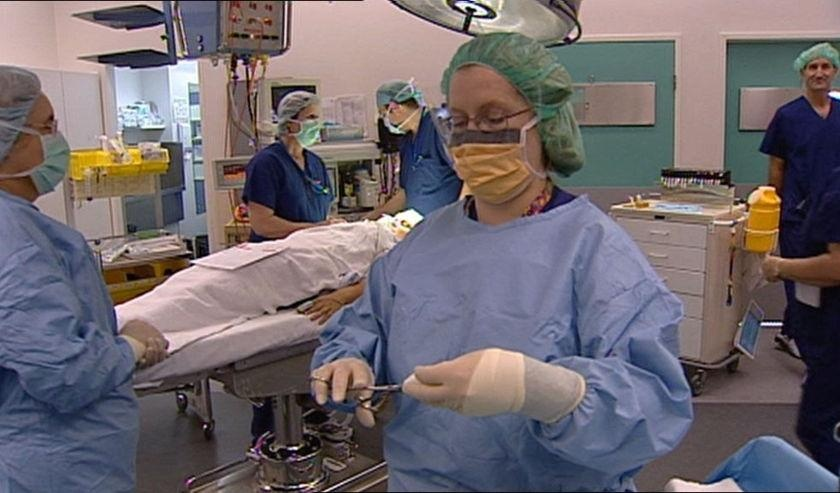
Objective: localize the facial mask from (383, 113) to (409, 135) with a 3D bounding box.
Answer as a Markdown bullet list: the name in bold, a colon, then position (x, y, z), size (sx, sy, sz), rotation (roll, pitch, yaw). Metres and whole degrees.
- **facial mask**: position (-0.183, -0.826, 4.432), size (0.172, 0.129, 0.064), rotation (16, 61, 34)

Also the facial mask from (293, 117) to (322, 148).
- **facial mask**: position (-0.672, -0.689, 4.007), size (0.161, 0.111, 0.138), rotation (8, 20, 18)

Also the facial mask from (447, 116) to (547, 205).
- **facial mask**: position (0.306, -0.307, 2.429), size (0.265, 0.177, 0.320), rotation (-2, 22, 42)

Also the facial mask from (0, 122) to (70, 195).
- **facial mask**: position (-1.597, -0.381, 2.844), size (0.292, 0.252, 0.237), rotation (-3, 8, -20)

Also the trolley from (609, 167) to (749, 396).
- **trolley**: position (1.804, 0.151, 4.659), size (0.795, 1.243, 0.951), rotation (-17, 23, -39)

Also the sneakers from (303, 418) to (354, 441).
- **sneakers**: position (-0.536, 1.111, 3.989), size (0.258, 0.074, 0.196), rotation (5, 8, 17)

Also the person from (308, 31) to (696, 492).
- **person**: position (0.270, 0.049, 2.232), size (1.207, 1.534, 0.753), rotation (0, 13, 18)

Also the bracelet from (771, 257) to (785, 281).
- **bracelet**: position (1.882, 0.129, 3.479), size (0.040, 0.091, 0.068), rotation (-3, 20, 7)
